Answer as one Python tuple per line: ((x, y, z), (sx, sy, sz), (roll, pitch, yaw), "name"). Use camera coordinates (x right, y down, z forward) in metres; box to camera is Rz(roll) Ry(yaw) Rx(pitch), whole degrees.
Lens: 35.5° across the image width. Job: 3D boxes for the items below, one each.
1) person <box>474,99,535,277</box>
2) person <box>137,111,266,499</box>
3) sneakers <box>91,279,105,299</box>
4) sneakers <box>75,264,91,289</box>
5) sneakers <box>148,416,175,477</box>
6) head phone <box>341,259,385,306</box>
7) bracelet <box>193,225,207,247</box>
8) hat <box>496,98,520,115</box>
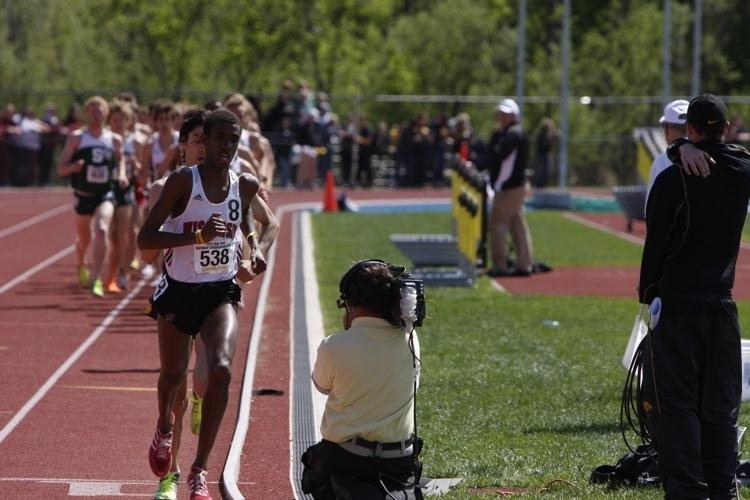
((1.765, -0.781, 15.872), (0.846, 0.791, 2.633), (-5, 36, 12), "person")
((-1.582, 0.479, 10.423), (1.023, 3.326, 1.363), (3, 14, 10), "person")
((-3.775, 0.525, 15.824), (0.152, 0.216, 0.087), (13, -26, -42), "sneakers")
((-3.868, 0.356, 15.419), (0.139, 0.116, 0.284), (16, -19, -5), "sneakers")
((-1.912, 1.761, 10.455), (0.158, 0.479, 0.185), (2, -25, -21), "sneakers")
((-0.143, 0.258, 9.944), (0.325, 0.411, 0.153), (5, 3, 32), "head phone")
((-1.520, -0.140, 10.223), (0.073, 0.126, 0.110), (-10, -3, 16), "bracelet")
((1.836, -1.975, 16.350), (0.259, 0.141, 0.194), (23, 0, -33), "hat")
